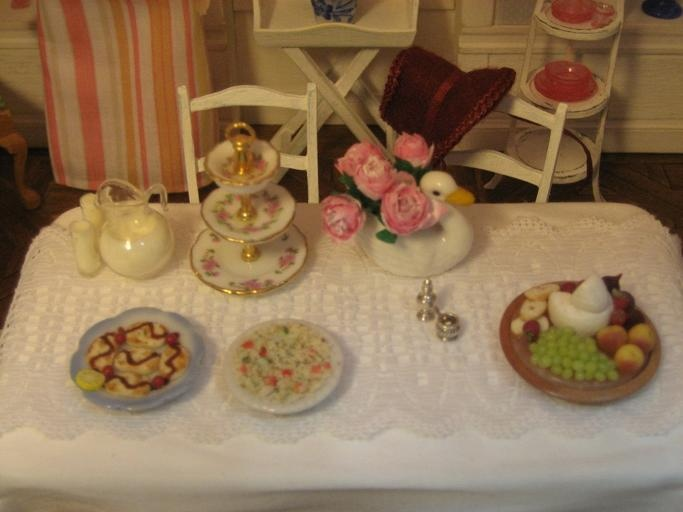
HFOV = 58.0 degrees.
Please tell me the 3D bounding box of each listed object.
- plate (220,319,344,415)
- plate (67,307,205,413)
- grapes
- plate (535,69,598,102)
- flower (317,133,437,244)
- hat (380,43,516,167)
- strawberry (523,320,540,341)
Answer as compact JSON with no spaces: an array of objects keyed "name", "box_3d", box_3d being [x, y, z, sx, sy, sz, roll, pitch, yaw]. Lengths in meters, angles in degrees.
[{"name":"plate","box_3d":[-0.122,0.171,1.388,0.338,0.147,0.257,0,43,-6]},{"name":"plate","box_3d":[-0.446,0.218,1.355,0.210,0.044,0.215,9,48,1]},{"name":"grapes","box_3d":[0.487,0.213,1.325,0.165,0.064,0.101,13,47,23]},{"name":"plate","box_3d":[0.905,-0.693,2.508,0.244,0.143,0.203,12,44,15]},{"name":"flower","box_3d":[0.088,-0.149,1.461,0.228,0.281,0.248,-24,47,-27]},{"name":"hat","box_3d":[0.366,-0.431,2.145,0.202,0.462,0.463,5,23,-49]},{"name":"strawberry","box_3d":[0.418,0.165,1.373,0.043,0.050,0.041,0,4,1]}]
